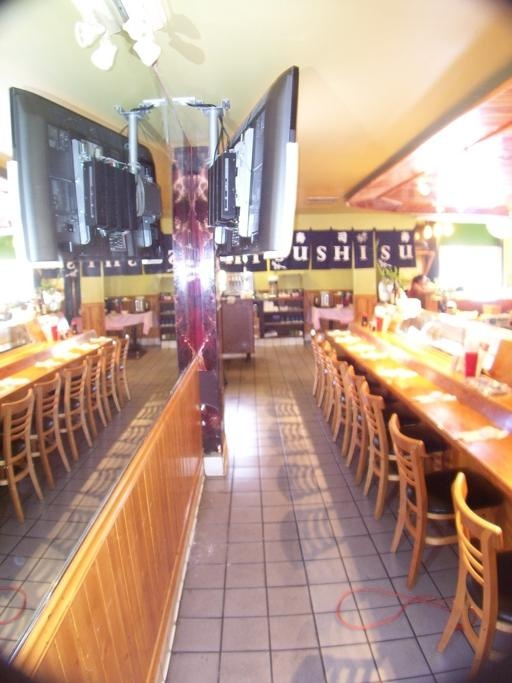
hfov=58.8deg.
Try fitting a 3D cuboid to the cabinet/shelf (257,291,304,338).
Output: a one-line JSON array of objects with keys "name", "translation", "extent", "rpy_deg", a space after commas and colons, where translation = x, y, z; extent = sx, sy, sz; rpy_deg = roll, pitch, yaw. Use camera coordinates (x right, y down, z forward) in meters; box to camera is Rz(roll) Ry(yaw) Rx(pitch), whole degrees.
[{"name": "cabinet/shelf", "translation": [0.544, -0.669, 11.024], "extent": [0.905, 0.980, 0.324], "rpy_deg": [-1, 2, -4]}]

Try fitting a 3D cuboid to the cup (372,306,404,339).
[{"name": "cup", "translation": [1.683, -0.286, 5.893], "extent": [0.316, 0.411, 0.312], "rpy_deg": [0, 6, 0]}]

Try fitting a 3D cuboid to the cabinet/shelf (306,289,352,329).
[{"name": "cabinet/shelf", "translation": [1.709, -0.803, 10.726], "extent": [0.892, 0.818, 0.991], "rpy_deg": [-1, 3, -7]}]
